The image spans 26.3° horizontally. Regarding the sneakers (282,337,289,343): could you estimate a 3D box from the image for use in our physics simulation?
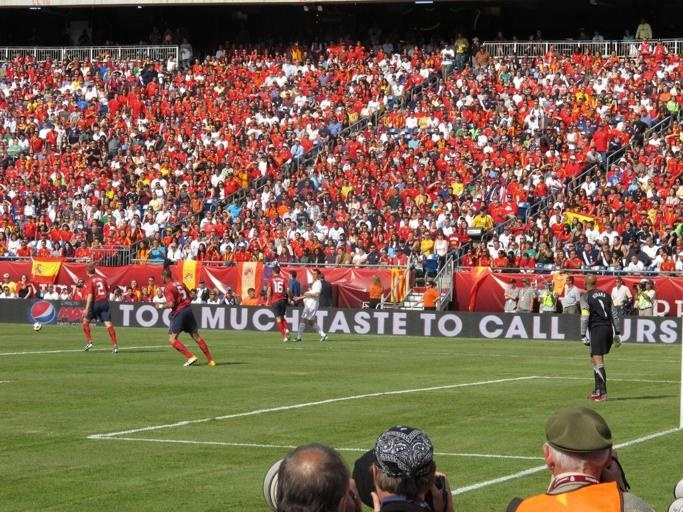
[{"bbox_3d":[-1.810,2.615,46.769,0.140,0.278,0.155,0,-3,40],"label":"sneakers"}]

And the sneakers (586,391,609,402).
[{"bbox_3d":[6.193,3.309,35.257,0.534,0.245,0.218,3,4,41],"label":"sneakers"}]

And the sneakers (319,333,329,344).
[{"bbox_3d":[-0.559,2.608,47.510,0.188,0.134,0.405,-1,-32,-7],"label":"sneakers"}]

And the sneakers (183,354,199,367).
[{"bbox_3d":[-4.119,2.839,39.847,0.225,0.179,0.508,32,-42,-22],"label":"sneakers"}]

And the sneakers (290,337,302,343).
[{"bbox_3d":[-1.481,2.652,47.639,0.371,0.236,0.129,1,-4,2],"label":"sneakers"}]

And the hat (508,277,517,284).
[{"bbox_3d":[5.712,0.761,48.643,0.181,0.173,0.145,7,-16,7],"label":"hat"}]

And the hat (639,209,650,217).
[{"bbox_3d":[10.121,-1.423,48.876,0.321,0.245,0.188,-3,-5,20],"label":"hat"}]
